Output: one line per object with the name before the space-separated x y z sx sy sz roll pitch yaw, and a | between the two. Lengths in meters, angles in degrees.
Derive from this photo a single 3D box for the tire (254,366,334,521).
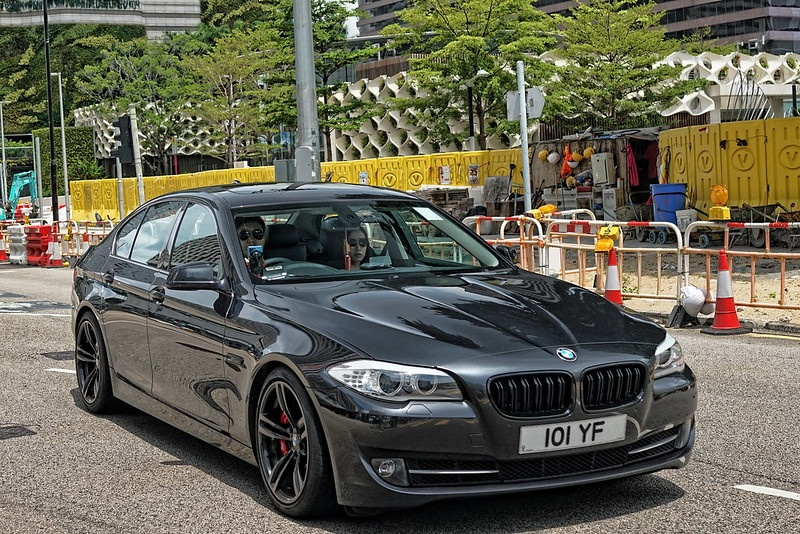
tire | -0.615 1.061 4.548 0.281 0.917 0.898 0 -5 -35

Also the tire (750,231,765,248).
tire | 9.133 -0.692 18.497 0.454 0.469 0.152 0 -1 14

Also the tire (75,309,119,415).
tire | -2.812 0.896 6.935 0.342 0.988 0.968 -1 -2 -37
